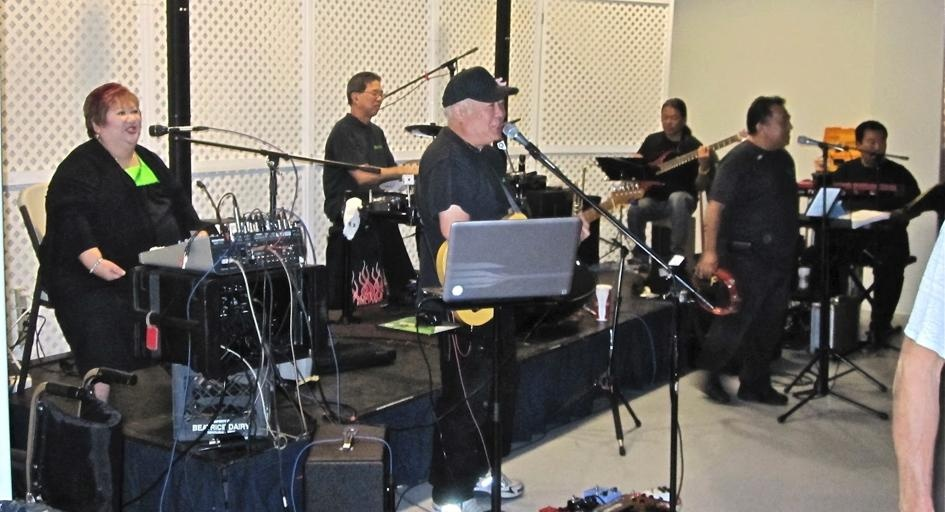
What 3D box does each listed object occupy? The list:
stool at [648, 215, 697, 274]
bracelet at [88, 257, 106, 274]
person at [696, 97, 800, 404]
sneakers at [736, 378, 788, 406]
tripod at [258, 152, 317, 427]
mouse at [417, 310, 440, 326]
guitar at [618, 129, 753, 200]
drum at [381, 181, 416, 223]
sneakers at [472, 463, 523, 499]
[{"bbox_3d":[2.331,-0.005,11.245,0.578,0.922,0.233,1,-3,28],"label":"stool"},{"bbox_3d":[-3.018,0.074,7.582,0.113,0.115,0.058,-4,11,-9],"label":"bracelet"},{"bbox_3d":[2.629,-0.028,9.016,0.883,2.918,0.473,1,11,17],"label":"person"},{"bbox_3d":[2.817,1.331,9.202,0.547,0.223,0.183,1,4,18],"label":"sneakers"},{"bbox_3d":[-1.428,0.435,7.496,0.362,1.691,0.931,-5,11,-10],"label":"tripod"},{"bbox_3d":[-0.406,0.588,8.858,0.214,0.082,0.281,0,-1,4],"label":"mouse"},{"bbox_3d":[2.363,-1.006,10.552,1.138,0.358,0.163,-20,3,10],"label":"guitar"},{"bbox_3d":[-0.696,-0.497,9.146,0.323,0.420,0.167,3,-6,3],"label":"drum"},{"bbox_3d":[0.251,1.862,7.726,0.523,0.228,0.222,0,4,-14],"label":"sneakers"}]
